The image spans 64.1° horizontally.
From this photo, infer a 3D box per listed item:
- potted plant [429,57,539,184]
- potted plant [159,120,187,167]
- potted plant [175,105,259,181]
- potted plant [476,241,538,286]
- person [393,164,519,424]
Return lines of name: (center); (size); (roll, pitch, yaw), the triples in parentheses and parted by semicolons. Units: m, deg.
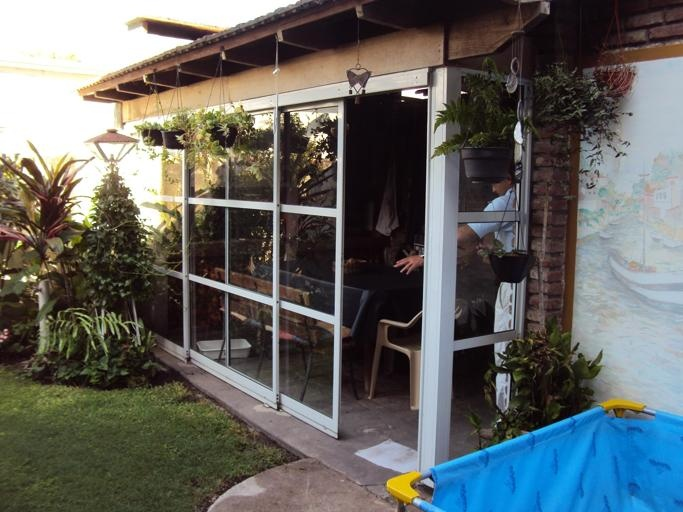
potted plant: (0.940, -0.902, 3.709); (0.623, 0.804, 0.592); (1, 11, 9)
potted plant: (-1.792, -1.207, 5.740); (0.332, 0.280, 0.357); (-1, 4, -20)
potted plant: (-1.236, -1.148, 5.348); (0.479, 0.592, 0.904); (-9, 14, -38)
potted plant: (1.146, 0.050, 3.758); (0.361, 0.260, 0.245); (3, 11, 17)
person: (0.930, 0.313, 4.070); (0.690, 1.815, 0.473); (3, 11, 18)
